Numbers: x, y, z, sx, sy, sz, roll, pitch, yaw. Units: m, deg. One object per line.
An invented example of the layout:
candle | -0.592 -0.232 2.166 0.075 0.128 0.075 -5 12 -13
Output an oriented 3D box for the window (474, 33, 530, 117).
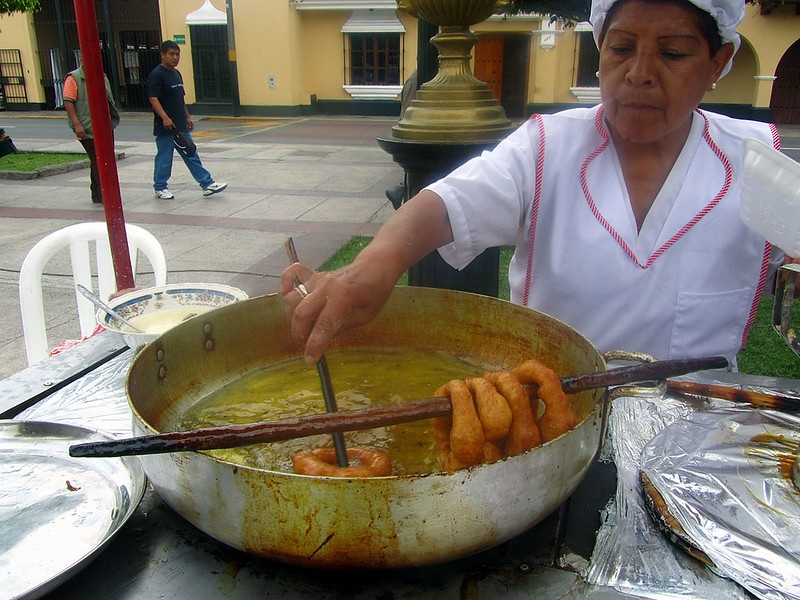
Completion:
window | 2.959 -6.581 17.740 1.437 0.166 2.417 6 -17 10

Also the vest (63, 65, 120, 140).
vest | -3.581 -2.301 7.271 0.426 0.647 0.601 8 21 22

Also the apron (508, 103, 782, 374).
apron | 0.788 -0.181 1.851 0.399 0.735 0.777 -34 29 -32

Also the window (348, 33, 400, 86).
window | -0.743 -7.152 19.104 1.695 1.581 0.123 -7 29 -17

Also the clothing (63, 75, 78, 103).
clothing | -3.685 -2.341 7.050 0.153 0.297 0.331 -9 21 -16

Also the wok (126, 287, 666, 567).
wok | -0.077 0.283 1.150 0.842 0.141 0.607 0 11 3

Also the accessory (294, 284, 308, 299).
accessory | -0.226 -0.022 1.457 0.016 0.026 0.039 -12 60 -18

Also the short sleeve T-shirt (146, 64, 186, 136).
short sleeve T-shirt | -2.804 -2.398 7.665 0.496 0.828 0.372 -16 25 -33
